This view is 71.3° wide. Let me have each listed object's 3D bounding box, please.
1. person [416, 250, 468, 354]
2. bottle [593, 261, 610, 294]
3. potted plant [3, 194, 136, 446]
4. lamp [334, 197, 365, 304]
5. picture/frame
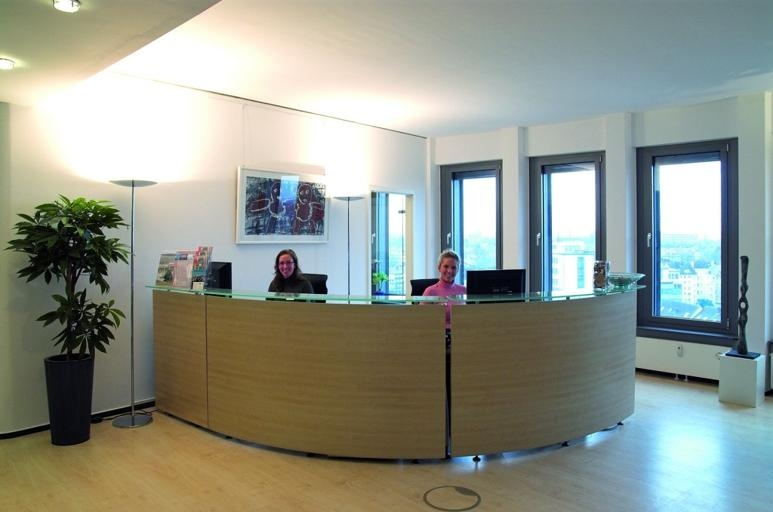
[{"bbox_3d":[0.577,0.403,5.602,0.474,0.764,1.573,1,10,7],"label":"person"},{"bbox_3d":[2.242,0.215,5.637,0.151,0.278,0.321,4,11,22],"label":"bottle"},{"bbox_3d":[-3.234,0.606,5.681,0.864,2.441,0.968,8,13,36],"label":"potted plant"},{"bbox_3d":[-0.551,-0.156,7.971,0.375,1.467,0.560,-1,11,-5],"label":"lamp"},{"bbox_3d":[-1.441,-0.696,7.222,1.155,0.749,0.045,-4,6,-44],"label":"picture/frame"}]
